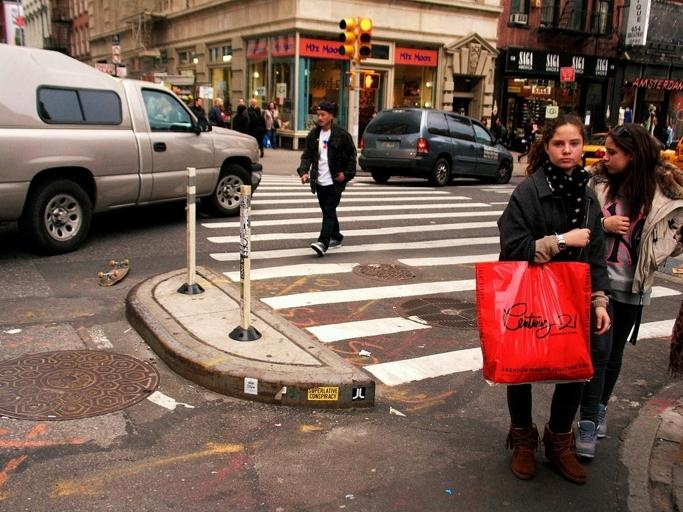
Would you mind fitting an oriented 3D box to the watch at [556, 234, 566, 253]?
[{"bbox_3d":[1.331,-0.075,3.612,0.069,0.107,0.094,-4,17,9],"label":"watch"}]

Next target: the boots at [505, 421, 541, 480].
[{"bbox_3d":[1.198,1.287,3.853,0.151,0.146,0.365,-1,9,8],"label":"boots"}]

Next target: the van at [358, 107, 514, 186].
[{"bbox_3d":[3.054,-3.525,18.714,4.427,1.772,2.294,-11,17,-39],"label":"van"}]

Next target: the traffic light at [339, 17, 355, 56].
[{"bbox_3d":[0.169,-6.171,16.661,0.438,1.031,0.944,3,15,0],"label":"traffic light"}]

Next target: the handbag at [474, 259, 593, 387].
[{"bbox_3d":[1.173,0.395,3.561,0.775,0.779,0.277,-1,-3,-7],"label":"handbag"}]

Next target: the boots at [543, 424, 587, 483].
[{"bbox_3d":[1.442,1.296,3.955,0.180,0.236,0.420,-12,16,-13],"label":"boots"}]

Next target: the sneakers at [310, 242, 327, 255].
[{"bbox_3d":[-0.338,-0.106,9.046,0.122,0.140,0.315,18,-21,44],"label":"sneakers"}]

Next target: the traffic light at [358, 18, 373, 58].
[{"bbox_3d":[0.679,-6.355,17.195,0.352,1.167,1.278,4,15,5],"label":"traffic light"}]

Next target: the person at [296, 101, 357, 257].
[{"bbox_3d":[-0.264,-1.225,9.260,0.853,2.298,0.827,14,19,38],"label":"person"}]

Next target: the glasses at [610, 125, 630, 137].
[{"bbox_3d":[1.980,-0.885,4.183,0.088,0.029,0.100,-2,35,9],"label":"glasses"}]

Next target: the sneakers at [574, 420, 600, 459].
[{"bbox_3d":[1.693,1.277,4.065,0.108,0.139,0.327,-1,5,18],"label":"sneakers"}]

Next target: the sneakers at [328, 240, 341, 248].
[{"bbox_3d":[-0.114,-0.185,9.723,0.227,0.091,0.083,1,8,-25],"label":"sneakers"}]

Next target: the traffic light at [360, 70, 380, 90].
[{"bbox_3d":[1.368,-8.399,28.088,0.264,0.878,1.139,14,18,38],"label":"traffic light"}]
